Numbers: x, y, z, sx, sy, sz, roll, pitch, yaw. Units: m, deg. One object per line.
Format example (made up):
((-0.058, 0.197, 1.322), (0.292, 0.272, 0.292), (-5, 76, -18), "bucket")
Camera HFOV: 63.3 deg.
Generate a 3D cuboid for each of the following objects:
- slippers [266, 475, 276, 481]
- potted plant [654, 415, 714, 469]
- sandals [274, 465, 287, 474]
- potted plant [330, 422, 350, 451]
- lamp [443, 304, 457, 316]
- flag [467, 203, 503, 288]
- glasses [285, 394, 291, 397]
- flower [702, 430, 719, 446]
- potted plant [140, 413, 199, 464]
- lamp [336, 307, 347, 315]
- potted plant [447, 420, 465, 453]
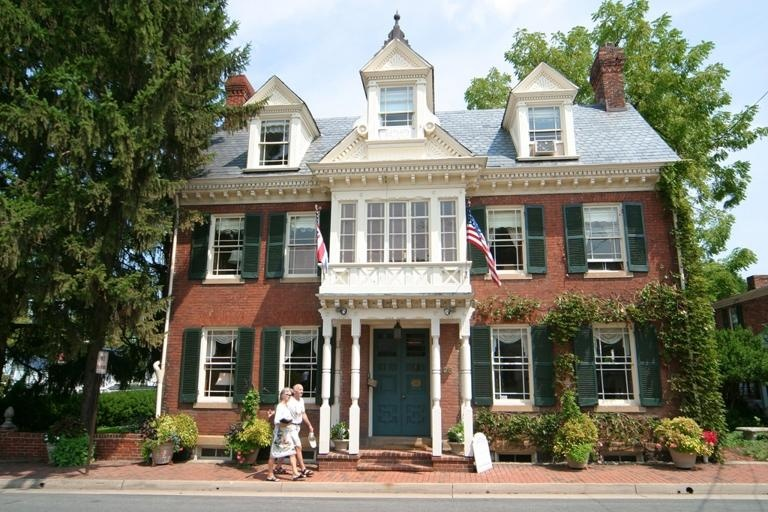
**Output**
((-3.695, 7.167, 20.151), (0.171, 0.114, 0.307), (10, -18, -41), "slippers")
((10.591, 6.463, 21.766), (1.494, 1.593, 1.514), (0, -3, -14), "potted plant")
((-3.551, 7.326, 21.308), (0.262, 0.243, 0.566), (5, -24, -6), "sandals")
((-1.558, 6.475, 22.372), (0.749, 1.028, 0.518), (-4, -19, 16), "potted plant")
((2.354, 1.935, 22.565), (0.435, 0.350, 0.147), (0, -19, 4), "lamp")
((3.674, -0.647, 23.268), (1.204, 3.429, 1.706), (-2, -19, 10), "flag")
((-3.114, 4.455, 19.994), (0.067, 0.150, 0.183), (-11, -22, 32), "glasses")
((11.371, 6.361, 21.799), (0.542, 0.512, 0.507), (7, -20, 0), "flower")
((-8.056, 6.818, 23.123), (1.814, 1.666, 1.756), (11, -26, -22), "potted plant")
((-1.562, 1.981, 22.831), (0.322, 0.306, 0.113), (-18, -1, 9), "lamp")
((2.627, 6.509, 22.141), (0.863, 0.902, 0.865), (0, -11, 17), "potted plant")
